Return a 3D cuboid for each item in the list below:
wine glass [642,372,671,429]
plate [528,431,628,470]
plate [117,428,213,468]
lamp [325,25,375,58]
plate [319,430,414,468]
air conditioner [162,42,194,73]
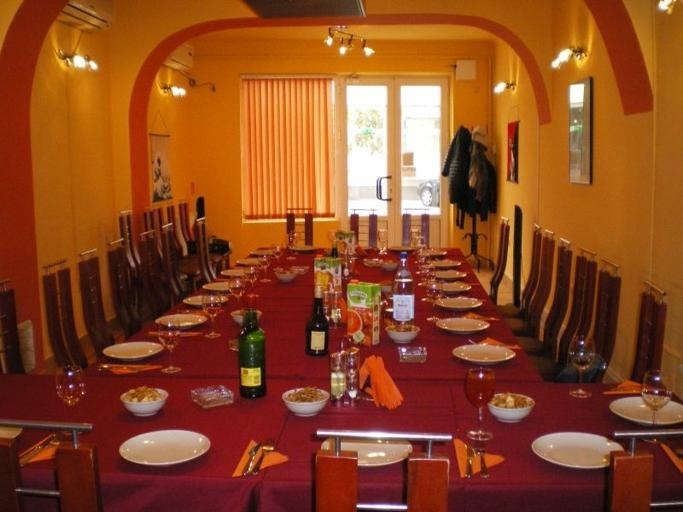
[{"bbox_3d":[1.083,0.481,1.994,0.080,0.174,0.240,4,10,29],"label":"wine glass"},{"bbox_3d":[0.723,0.611,1.781,0.265,0.048,0.187,3,10,21],"label":"plate"},{"bbox_3d":[-0.556,0.605,1.793,0.272,0.039,0.169,1,10,10],"label":"plate"},{"bbox_3d":[0.106,-2.850,7.608,0.673,0.276,0.698,26,26,28],"label":"lamp"},{"bbox_3d":[0.097,0.601,1.749,0.226,0.072,0.161,1,9,11],"label":"plate"},{"bbox_3d":[-2.165,-2.647,7.577,0.289,0.344,0.924,-2,9,-6],"label":"air conditioner"}]
